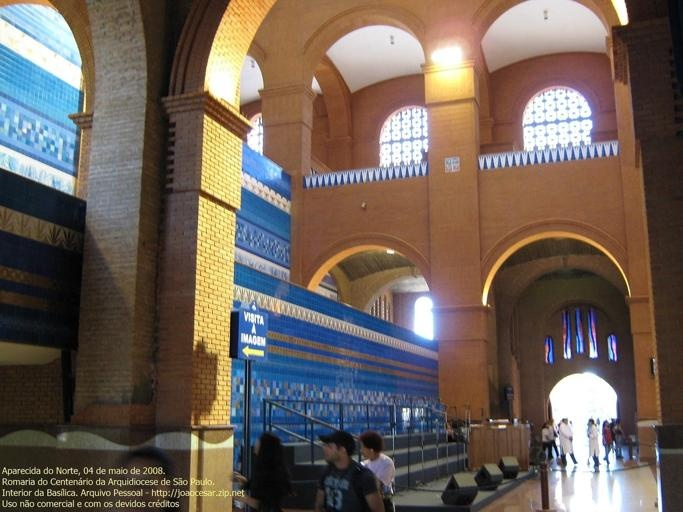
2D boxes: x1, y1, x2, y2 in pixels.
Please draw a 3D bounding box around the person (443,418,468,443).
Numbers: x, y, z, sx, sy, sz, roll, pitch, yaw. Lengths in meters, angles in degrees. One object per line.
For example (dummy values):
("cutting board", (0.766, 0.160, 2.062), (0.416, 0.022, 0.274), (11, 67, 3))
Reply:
("person", (2.978, 4.553, 18.258), (0.425, 0.685, 1.259), (1, -20, -6))
